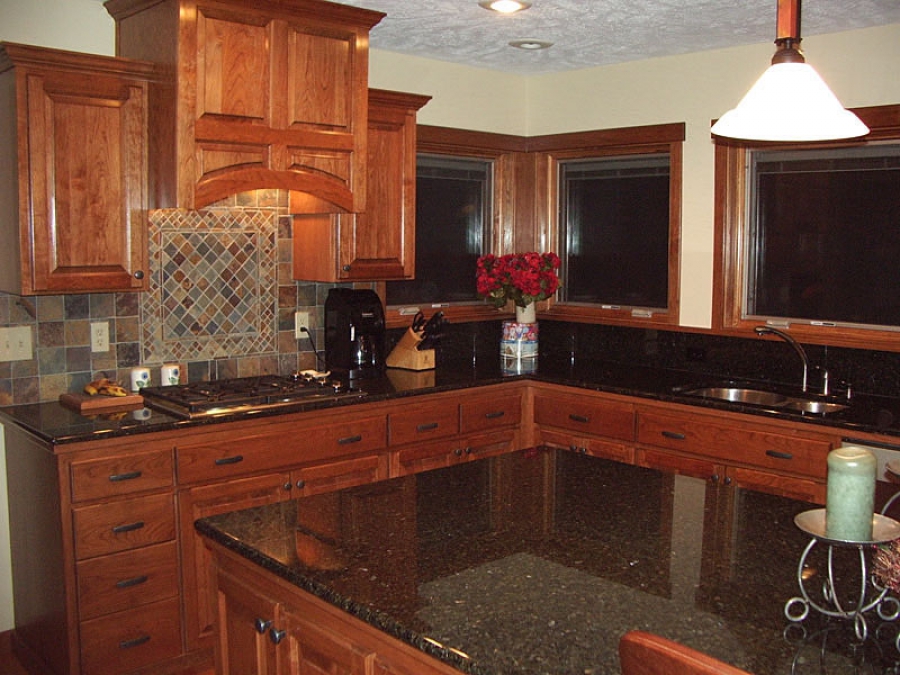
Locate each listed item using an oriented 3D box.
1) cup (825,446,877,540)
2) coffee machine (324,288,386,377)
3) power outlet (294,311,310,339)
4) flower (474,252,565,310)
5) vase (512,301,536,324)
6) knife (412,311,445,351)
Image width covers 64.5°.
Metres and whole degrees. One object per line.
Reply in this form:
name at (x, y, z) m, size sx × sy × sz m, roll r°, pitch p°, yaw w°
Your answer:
cup at (0.841, 0.330, 1.508) m, size 0.088 × 0.174 × 0.074 m, roll 3°, pitch 9°, yaw 10°
coffee machine at (-0.550, -0.035, 4.061) m, size 0.337 × 0.475 × 0.198 m, roll 0°, pitch 9°, yaw -8°
power outlet at (-0.849, -0.075, 4.093) m, size 0.099 × 0.154 × 0.019 m, roll -6°, pitch 12°, yaw -37°
flower at (0.441, -0.367, 4.619) m, size 0.459 × 0.277 × 0.441 m, roll -3°, pitch 4°, yaw -37°
vase at (0.519, -0.170, 4.757) m, size 0.149 × 0.140 × 0.145 m, roll -6°, pitch 9°, yaw -45°
knife at (-0.131, -0.050, 4.296) m, size 0.209 × 0.228 × 0.133 m, roll 1°, pitch 9°, yaw 2°
